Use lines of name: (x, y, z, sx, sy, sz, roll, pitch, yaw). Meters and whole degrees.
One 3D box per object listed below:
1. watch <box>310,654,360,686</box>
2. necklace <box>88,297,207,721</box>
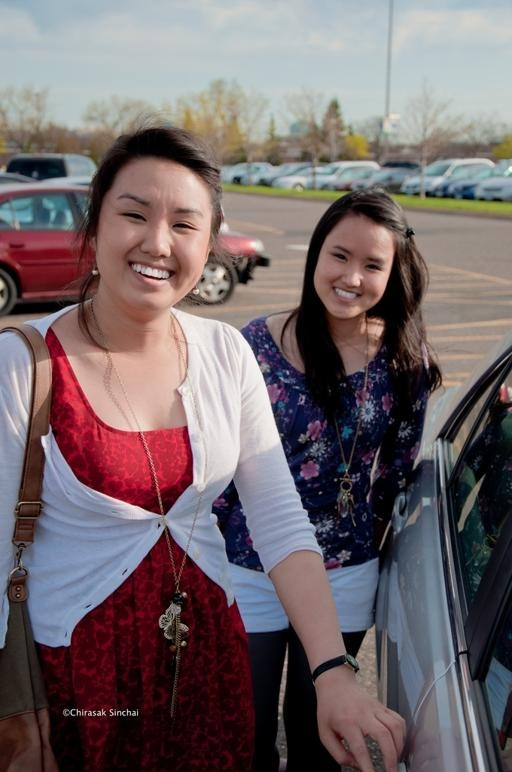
watch: (0.126, 0.441, 1.091, 0.040, 0.068, 0.068, 44, -2, 17)
necklace: (-0.165, 0.196, 1.108, 0.173, 0.666, 0.017, -3, 3, -19)
